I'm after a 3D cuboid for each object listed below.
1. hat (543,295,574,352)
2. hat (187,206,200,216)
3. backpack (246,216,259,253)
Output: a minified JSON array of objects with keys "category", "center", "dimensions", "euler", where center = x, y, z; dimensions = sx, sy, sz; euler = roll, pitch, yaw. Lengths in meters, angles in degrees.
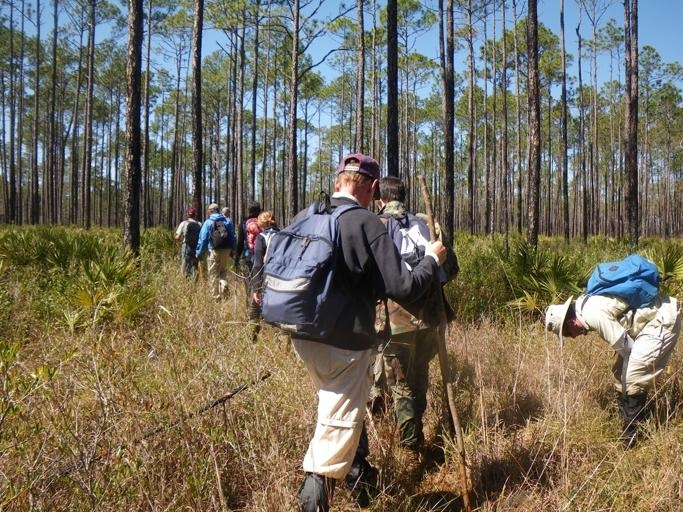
[{"category":"hat","center":[3.843,1.191,12.336],"dimensions":[0.251,0.865,0.638],"euler":[6,5,12]},{"category":"hat","center":[-3.876,-1.160,17.826],"dimensions":[0.180,0.317,0.289],"euler":[1,10,1]},{"category":"backpack","center":[-2.123,-0.537,16.248],"dimensions":[0.414,0.788,0.651],"euler":[0,-2,-4]}]
